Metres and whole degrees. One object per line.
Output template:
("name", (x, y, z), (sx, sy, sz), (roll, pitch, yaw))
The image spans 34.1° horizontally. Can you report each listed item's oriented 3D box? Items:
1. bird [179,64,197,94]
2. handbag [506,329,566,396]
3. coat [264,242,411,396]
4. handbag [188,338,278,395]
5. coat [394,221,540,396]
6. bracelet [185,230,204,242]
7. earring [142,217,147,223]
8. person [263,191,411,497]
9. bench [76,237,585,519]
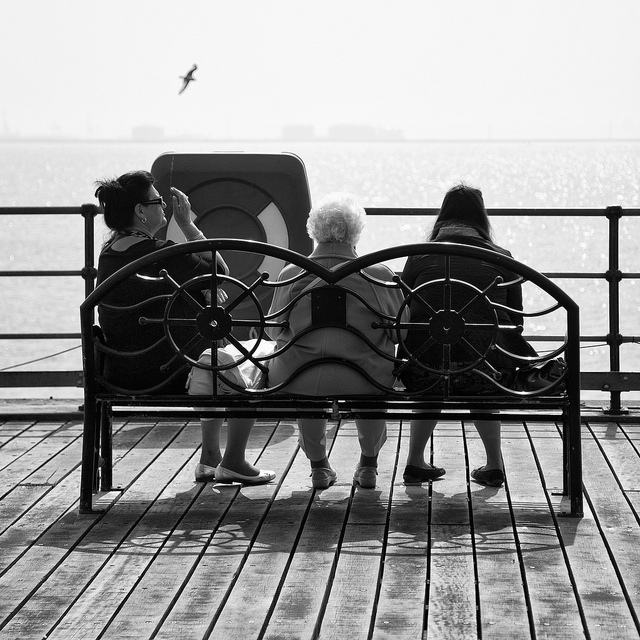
("bird", (-0.800, -1.452, 6.253), (0.101, 0.202, 0.535), (-1, 7, -7))
("handbag", (0.713, 0.167, 3.578), (0.218, 0.177, 0.067), (14, -17, -35))
("coat", (0.075, 0.049, 3.609), (0.511, 0.533, 0.315), (-2, -13, 12))
("handbag", (-0.366, 0.188, 3.566), (0.225, 0.110, 0.268), (-24, -7, -41))
("coat", (0.486, 0.009, 3.763), (0.422, 0.640, 0.325), (-1, -27, 13))
("bracelet", (-0.491, -0.316, 4.029), (0.060, 0.053, 0.066), (-1, 6, -3))
("earring", (-0.638, -0.357, 3.768), (0.018, 0.016, 0.009), (-5, 8, -37))
("person", (0.054, 0.104, 3.632), (0.500, 1.078, 0.667), (-1, 6, -4))
("bench", (0.032, 0.233, 3.376), (1.618, 1.016, 0.565), (1, -1, 3))
